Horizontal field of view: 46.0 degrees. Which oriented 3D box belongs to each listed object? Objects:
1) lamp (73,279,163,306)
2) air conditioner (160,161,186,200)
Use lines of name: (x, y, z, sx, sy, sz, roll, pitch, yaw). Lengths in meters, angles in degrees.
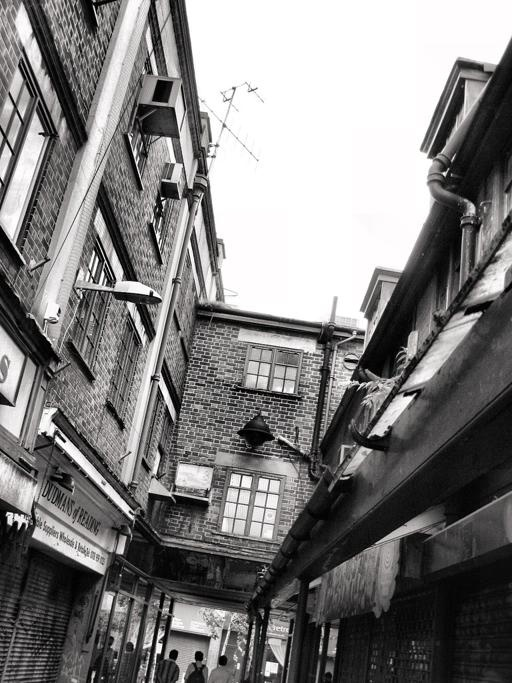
lamp: (-1.782, -0.604, 7.492, 0.637, 0.204, 0.457, 13, -7, 8)
air conditioner: (-1.596, -3.017, 11.342, 0.357, 0.563, 0.477, 7, -29, 10)
